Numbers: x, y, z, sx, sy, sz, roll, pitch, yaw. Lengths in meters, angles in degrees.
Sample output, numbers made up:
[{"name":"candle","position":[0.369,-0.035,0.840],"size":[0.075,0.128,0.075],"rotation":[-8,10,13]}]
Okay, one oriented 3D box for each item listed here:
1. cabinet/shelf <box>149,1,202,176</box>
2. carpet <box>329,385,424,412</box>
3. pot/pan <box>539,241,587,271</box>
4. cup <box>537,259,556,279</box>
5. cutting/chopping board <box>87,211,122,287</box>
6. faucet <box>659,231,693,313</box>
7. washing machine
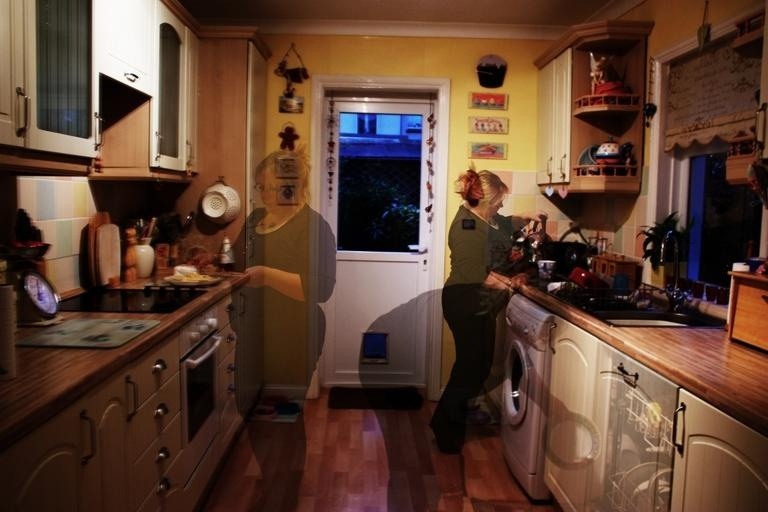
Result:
[{"name":"cabinet/shelf","position":[-1.376,-1.067,3.595],"size":[0.262,0.795,0.402],"rotation":[1,3,2]},{"name":"carpet","position":[-0.073,1.164,4.487],"size":[0.660,0.017,0.419],"rotation":[2,10,-2]},{"name":"pot/pan","position":[1.317,-0.019,4.064],"size":[0.231,0.239,0.235],"rotation":[0,0,-1]},{"name":"cup","position":[1.139,0.092,3.909],"size":[0.116,0.108,0.111],"rotation":[2,8,0]},{"name":"cutting/chopping board","position":[-1.711,-0.039,3.352],"size":[0.096,0.412,0.214],"rotation":[6,9,15]},{"name":"faucet","position":[1.677,0.083,3.216],"size":[0.087,0.422,0.213],"rotation":[4,8,3]},{"name":"washing machine","position":[0.885,0.862,3.488],"size":[0.368,0.972,0.516],"rotation":[2,6,4]}]
